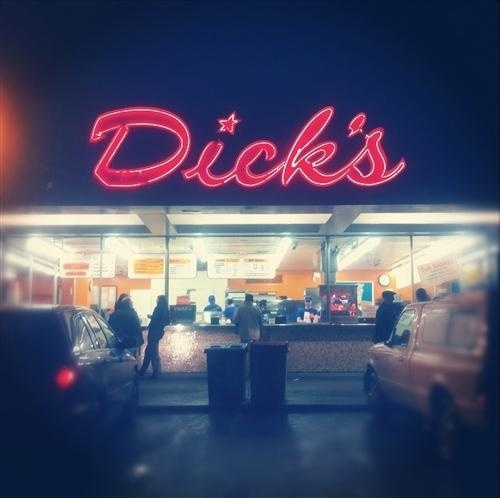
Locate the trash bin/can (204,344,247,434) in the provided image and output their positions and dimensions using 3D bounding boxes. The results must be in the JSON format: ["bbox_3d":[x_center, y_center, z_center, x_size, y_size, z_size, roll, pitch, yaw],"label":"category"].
[{"bbox_3d":[-0.380,2.118,9.036,0.691,1.008,1.843,1,-2,-2],"label":"trash bin/can"}]

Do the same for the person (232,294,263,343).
[{"bbox_3d":[-0.037,1.458,11.774,0.570,1.012,0.390,1,-2,-1],"label":"person"}]

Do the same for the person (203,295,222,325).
[{"bbox_3d":[-0.896,1.538,13.605,0.431,1.092,0.514,1,-17,-7],"label":"person"}]

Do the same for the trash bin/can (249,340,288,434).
[{"bbox_3d":[0.301,2.087,8.919,0.628,1.057,1.614,0,-2,2],"label":"trash bin/can"}]

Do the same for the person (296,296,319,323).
[{"bbox_3d":[1.489,1.660,14.381,0.496,1.017,0.552,-1,-25,5],"label":"person"}]
